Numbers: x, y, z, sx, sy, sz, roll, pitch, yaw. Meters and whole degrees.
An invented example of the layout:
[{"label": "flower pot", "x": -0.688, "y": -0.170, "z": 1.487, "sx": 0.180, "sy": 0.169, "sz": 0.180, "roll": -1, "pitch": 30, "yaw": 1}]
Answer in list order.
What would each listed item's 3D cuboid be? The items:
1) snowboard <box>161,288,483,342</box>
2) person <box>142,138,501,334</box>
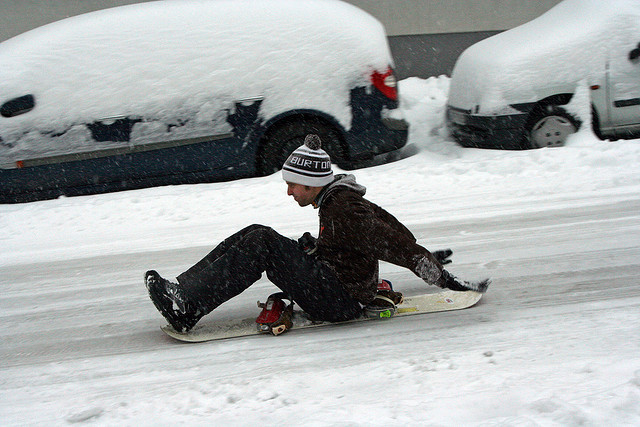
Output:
[{"label": "snowboard", "x": 0.042, "y": 0.837, "z": 5.861, "sx": 2.851, "sy": 0.083, "sz": 0.330, "roll": -4, "pitch": 35, "yaw": -4}, {"label": "person", "x": -0.130, "y": 0.240, "z": 5.859, "sx": 2.380, "sy": 1.380, "sz": 0.611, "roll": -12, "pitch": 28, "yaw": 1}]
